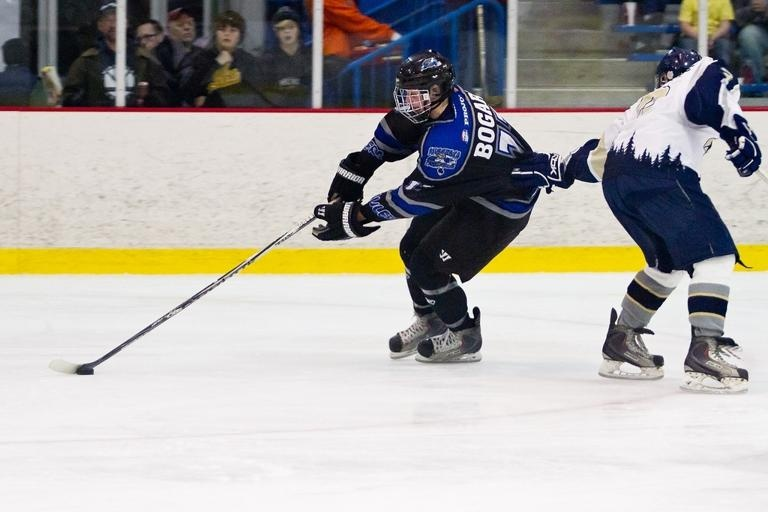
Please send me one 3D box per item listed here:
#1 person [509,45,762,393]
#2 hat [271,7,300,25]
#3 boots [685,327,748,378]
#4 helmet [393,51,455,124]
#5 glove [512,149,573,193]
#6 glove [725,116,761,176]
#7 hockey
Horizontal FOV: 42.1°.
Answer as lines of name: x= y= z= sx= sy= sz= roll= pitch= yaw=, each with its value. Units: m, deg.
person: x=1.247 y=-0.173 z=4.387 sx=0.940 sy=1.477 sz=0.350 roll=10 pitch=12 yaw=30
hat: x=-0.662 y=-1.633 z=6.767 sx=0.165 sy=0.064 sz=0.136 roll=5 pitch=29 yaw=14
boots: x=1.439 y=0.433 z=4.225 sx=0.117 sy=0.173 sz=0.328 roll=-5 pitch=6 yaw=-32
helmet: x=0.183 y=-0.752 z=4.498 sx=0.248 sy=0.290 sz=0.095 roll=4 pitch=11 yaw=0
glove: x=0.712 y=-0.386 z=4.472 sx=0.285 sy=0.093 sz=0.169 roll=2 pitch=51 yaw=-3
glove: x=1.560 y=-0.480 z=4.327 sx=0.157 sy=0.267 sz=0.227 roll=7 pitch=11 yaw=17
hockey: x=-1.169 y=0.170 z=5.812 sx=1.764 sy=0.206 sz=0.221 roll=-24 pitch=37 yaw=3
